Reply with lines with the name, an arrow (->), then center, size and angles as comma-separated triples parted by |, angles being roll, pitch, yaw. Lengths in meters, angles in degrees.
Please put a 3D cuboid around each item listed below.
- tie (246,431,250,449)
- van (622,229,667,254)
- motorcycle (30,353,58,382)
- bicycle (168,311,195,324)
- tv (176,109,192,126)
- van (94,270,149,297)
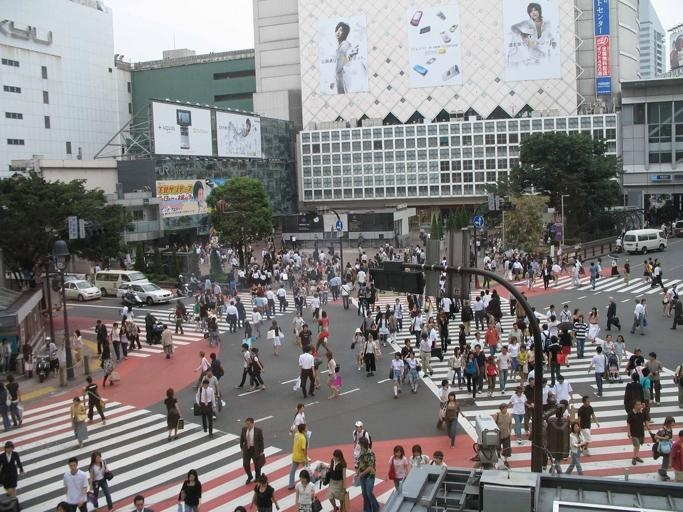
tie -> -3.712, 7.318, 33.180 | 0.187, 0.566, 0.115 | -2, 2, -3
van -> 25.642, -1.191, 71.388 | 3.568, 1.968, 1.775 | -9, 10, -25
motorcycle -> -15.813, 5.941, 44.441 | 0.780, 1.108, 1.756 | -1, -6, 3
bicycle -> -10.677, 4.162, 55.338 | 1.389, 1.049, 0.966 | 3, -11, 5
tv -> -17.433, -15.215, 92.242 | 0.337, 1.764, 2.458 | -1, 2, 22
van -> -17.134, 2.425, 63.693 | 3.536, 2.025, 2.136 | 0, 5, 13
